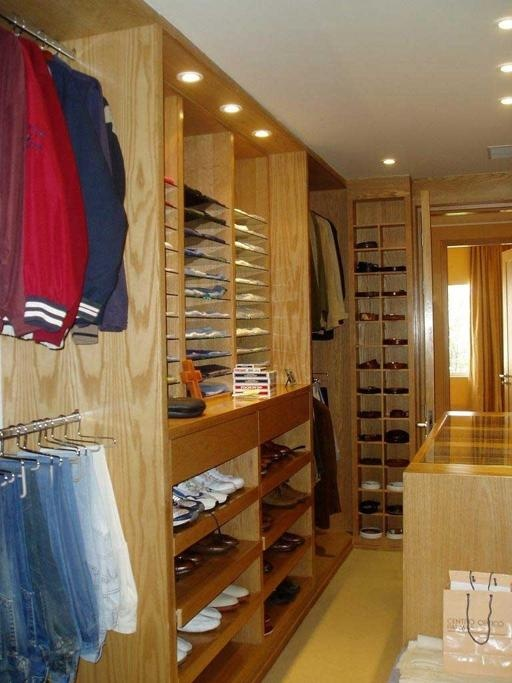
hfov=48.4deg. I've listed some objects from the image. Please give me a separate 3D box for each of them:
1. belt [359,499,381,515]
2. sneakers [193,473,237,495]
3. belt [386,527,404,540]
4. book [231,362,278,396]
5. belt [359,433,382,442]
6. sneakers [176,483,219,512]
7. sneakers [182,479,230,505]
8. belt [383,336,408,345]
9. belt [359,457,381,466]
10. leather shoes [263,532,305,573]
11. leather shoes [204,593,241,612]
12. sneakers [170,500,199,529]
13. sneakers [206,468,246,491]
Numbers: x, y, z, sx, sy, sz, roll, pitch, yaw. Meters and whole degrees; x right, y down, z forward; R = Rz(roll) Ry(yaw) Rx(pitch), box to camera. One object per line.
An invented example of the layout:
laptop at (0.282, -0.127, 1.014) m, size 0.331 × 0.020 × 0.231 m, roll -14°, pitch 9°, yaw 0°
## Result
belt at (0.826, 1.194, 4.144) m, size 0.147 × 0.076 × 0.220 m, roll -3°, pitch -3°, yaw 14°
sneakers at (-0.163, 0.557, 2.258) m, size 0.191 × 0.080 × 0.065 m, roll 2°, pitch 0°, yaw 12°
belt at (0.975, 1.354, 4.024) m, size 0.102 × 0.054 × 0.116 m, roll -3°, pitch -3°, yaw 16°
book at (-0.010, 0.161, 2.611) m, size 0.155 × 0.111 × 0.157 m, roll 1°, pitch 1°, yaw 15°
belt at (0.820, 0.692, 4.099) m, size 0.167 × 0.043 × 0.087 m, roll -3°, pitch -3°, yaw 13°
sneakers at (-0.231, 0.549, 2.027) m, size 0.176 × 0.073 × 0.064 m, roll 2°, pitch 0°, yaw 24°
sneakers at (-0.182, 0.561, 2.175) m, size 0.200 × 0.081 × 0.072 m, roll 0°, pitch 3°, yaw 24°
belt at (0.993, 0.004, 4.056) m, size 0.173 × 0.045 × 0.094 m, roll -3°, pitch -3°, yaw 11°
belt at (0.825, 0.865, 4.113) m, size 0.162 × 0.031 × 0.157 m, roll -2°, pitch -3°, yaw 9°
leather shoes at (0.140, 1.047, 2.871) m, size 0.080 × 0.092 × 0.222 m, roll 10°, pitch 22°, yaw 35°
leather shoes at (-0.126, 1.001, 2.195) m, size 0.068 × 0.039 × 0.121 m, roll -1°, pitch -5°, yaw 1°
sneakers at (-0.234, 0.571, 1.889) m, size 0.086 × 0.055 × 0.151 m, roll -1°, pitch -3°, yaw -7°
sneakers at (-0.137, 0.551, 2.287) m, size 0.175 × 0.070 × 0.064 m, roll 0°, pitch -4°, yaw 17°
